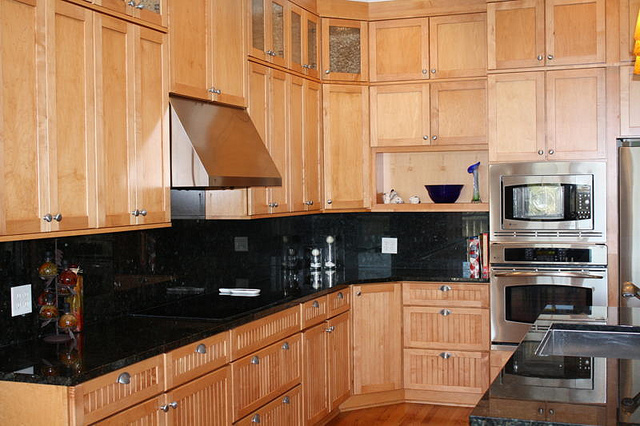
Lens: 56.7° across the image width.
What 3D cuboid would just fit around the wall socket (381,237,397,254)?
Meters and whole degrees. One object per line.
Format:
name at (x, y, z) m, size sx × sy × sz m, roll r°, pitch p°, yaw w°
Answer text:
wall socket at (0.652, 0.315, 5.698) m, size 0.154 × 0.135 × 0.035 m, roll 5°, pitch 4°, yaw 20°

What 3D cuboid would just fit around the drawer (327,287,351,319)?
drawer at (0.135, 0.721, 4.752) m, size 0.182 × 0.170 × 0.285 m, roll -1°, pitch 1°, yaw 23°

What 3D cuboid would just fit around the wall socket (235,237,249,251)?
wall socket at (-0.647, 0.256, 4.777) m, size 0.034 × 0.090 × 0.138 m, roll 0°, pitch 0°, yaw 40°

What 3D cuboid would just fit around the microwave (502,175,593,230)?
microwave at (1.903, -0.099, 4.985) m, size 0.732 × 0.454 × 0.433 m, roll 0°, pitch -1°, yaw 22°

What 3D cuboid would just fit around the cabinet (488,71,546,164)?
cabinet at (1.638, -0.802, 5.042) m, size 0.478 × 0.724 × 0.406 m, roll 0°, pitch 6°, yaw 10°

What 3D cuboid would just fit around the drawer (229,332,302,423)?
drawer at (-0.356, 1.064, 3.849) m, size 0.357 × 0.287 × 0.605 m, roll -1°, pitch 0°, yaw 21°

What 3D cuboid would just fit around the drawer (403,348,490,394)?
drawer at (1.089, 1.333, 5.032) m, size 0.884 × 0.410 × 0.554 m, roll 0°, pitch -2°, yaw 15°

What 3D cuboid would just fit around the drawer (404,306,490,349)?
drawer at (1.081, 0.979, 5.033) m, size 0.655 × 0.302 × 0.366 m, roll 0°, pitch -1°, yaw 17°

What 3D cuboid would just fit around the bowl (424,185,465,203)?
bowl at (1.114, -0.178, 5.377) m, size 0.318 × 0.175 × 0.108 m, roll -3°, pitch 2°, yaw 12°

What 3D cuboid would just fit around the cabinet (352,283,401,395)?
cabinet at (0.471, 1.056, 5.047) m, size 0.396 × 0.880 × 0.494 m, roll 0°, pitch -1°, yaw -4°

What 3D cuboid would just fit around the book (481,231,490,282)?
book at (1.388, 0.380, 5.027) m, size 0.064 × 0.435 × 0.386 m, roll 1°, pitch -3°, yaw 17°

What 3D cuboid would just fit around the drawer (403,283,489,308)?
drawer at (1.059, 0.695, 5.021) m, size 0.704 × 0.186 × 0.449 m, roll 2°, pitch 5°, yaw 22°

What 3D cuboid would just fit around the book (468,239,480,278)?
book at (1.327, 0.390, 5.165) m, size 0.096 × 0.207 × 0.348 m, roll -4°, pitch 2°, yaw 14°

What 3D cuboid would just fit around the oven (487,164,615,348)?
oven at (1.888, 0.392, 5.183) m, size 0.977 × 1.531 × 0.821 m, roll 0°, pitch -2°, yaw 3°

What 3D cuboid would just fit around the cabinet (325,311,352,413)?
cabinet at (0.141, 1.175, 4.763) m, size 0.208 × 0.644 × 0.296 m, roll 3°, pitch 8°, yaw 15°

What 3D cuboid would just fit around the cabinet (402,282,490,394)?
cabinet at (1.141, 1.030, 5.300) m, size 0.927 × 0.855 × 0.610 m, roll 2°, pitch 5°, yaw 19°

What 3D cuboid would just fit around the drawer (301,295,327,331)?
drawer at (-0.058, 0.740, 4.414) m, size 0.187 × 0.169 × 0.278 m, roll 0°, pitch 2°, yaw 23°
